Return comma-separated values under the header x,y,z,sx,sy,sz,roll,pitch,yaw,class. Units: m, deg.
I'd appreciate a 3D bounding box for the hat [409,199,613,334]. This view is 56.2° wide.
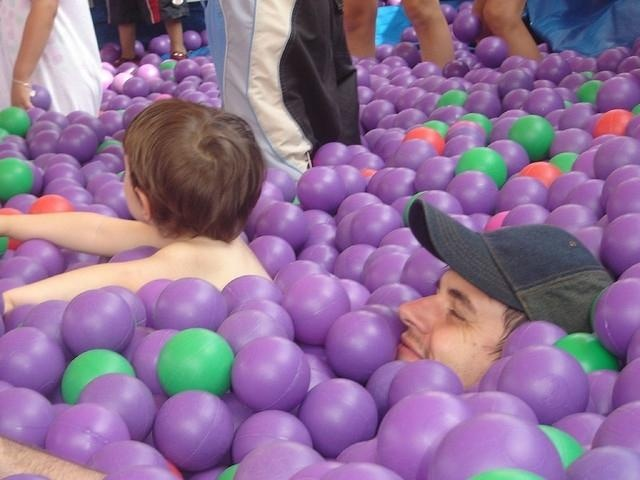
x,y,z,sx,sy,sz,roll,pitch,yaw,class
0.490,-0.021,1.608,0.557,0.255,0.374,16,28,-40,hat

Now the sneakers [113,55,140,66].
x,y,z,sx,sy,sz,roll,pitch,yaw,class
-1.722,-1.593,5.317,0.243,0.110,0.121,-8,22,-15,sneakers
